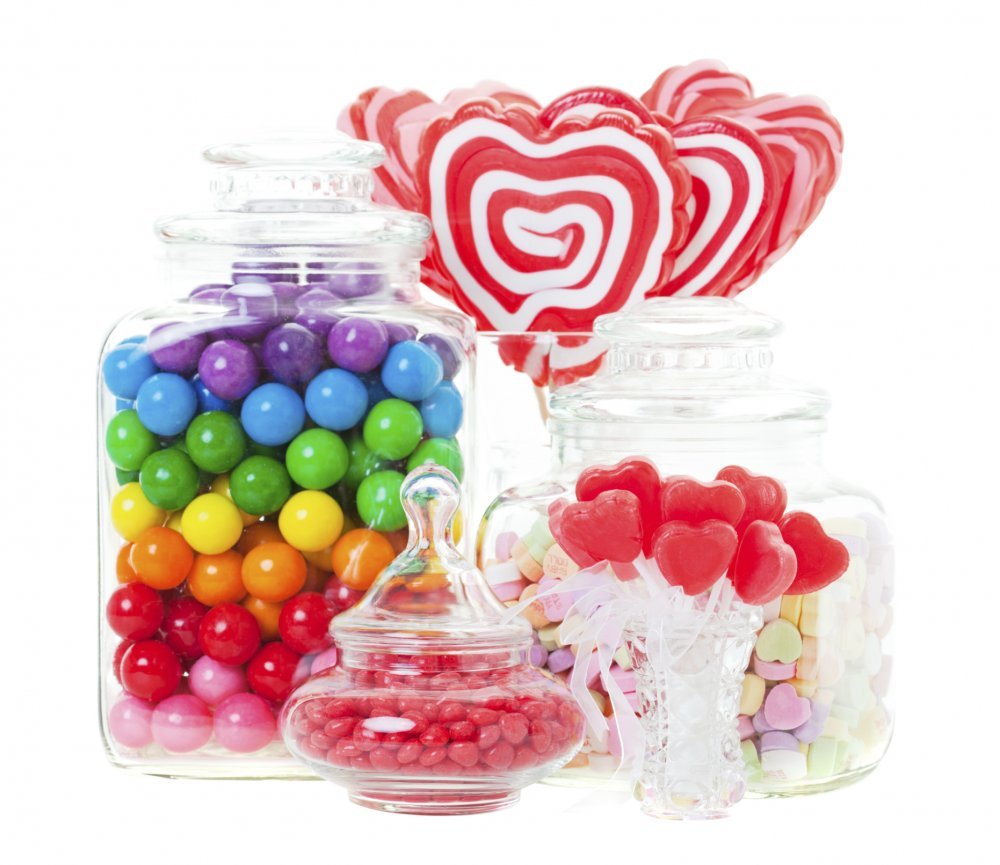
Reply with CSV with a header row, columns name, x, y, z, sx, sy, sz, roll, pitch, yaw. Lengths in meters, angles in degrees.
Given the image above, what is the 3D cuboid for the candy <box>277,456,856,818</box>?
name,x,y,z,sx,sy,sz,roll,pitch,yaw
candy,0.113,0.319,1.809,0.829,0.524,0.370,-9,-25,22
